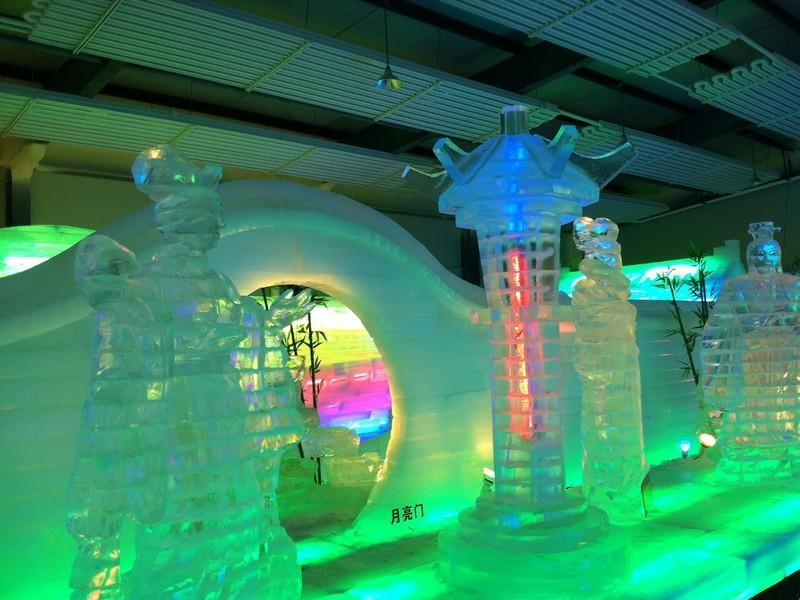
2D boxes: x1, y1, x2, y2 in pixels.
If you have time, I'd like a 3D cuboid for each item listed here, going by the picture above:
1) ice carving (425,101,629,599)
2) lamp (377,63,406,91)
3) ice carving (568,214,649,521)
[{"bbox_3d":[0.708,0.334,4.358,1.515,2.669,1.147,-1,-2,12],"label":"ice carving"},{"bbox_3d":[-0.109,-2.108,6.185,0.198,0.291,0.353,-8,-7,4],"label":"lamp"},{"bbox_3d":[1.426,0.484,4.509,0.746,1.802,0.674,0,2,16],"label":"ice carving"}]
